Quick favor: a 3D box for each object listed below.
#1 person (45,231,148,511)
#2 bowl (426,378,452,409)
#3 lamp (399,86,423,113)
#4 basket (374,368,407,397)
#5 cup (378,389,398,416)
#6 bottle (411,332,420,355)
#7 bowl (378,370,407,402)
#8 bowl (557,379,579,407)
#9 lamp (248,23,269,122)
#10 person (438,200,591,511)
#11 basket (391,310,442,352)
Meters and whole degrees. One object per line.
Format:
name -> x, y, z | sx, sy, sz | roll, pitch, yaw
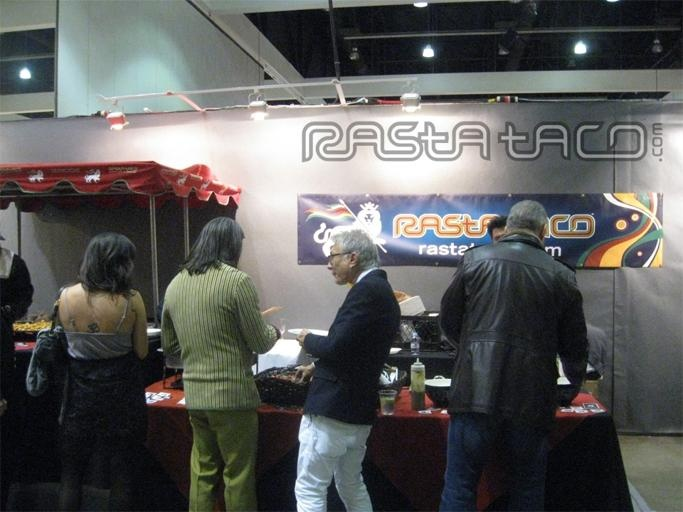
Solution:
person -> -1.480, 0.732, 3.998 | 0.512, 1.745, 0.266 | 1, 1, -26
bowl -> 0.627, 0.881, 4.252 | 0.195, 0.142, 0.200 | 1, 2, 0
lamp -> 0.605, -1.390, 5.821 | 0.164, 0.243, 0.237 | 1, 17, 3
basket -> 0.330, 0.810, 4.307 | 0.204, 0.137, 0.210 | 1, 3, 10
cup -> 0.294, 0.945, 4.155 | 0.122, 0.131, 0.125 | 2, -6, 0
bottle -> 0.548, 0.643, 4.810 | 0.061, 0.118, 0.133 | 1, 1, 6
bowl -> 0.329, 0.863, 4.321 | 0.198, 0.133, 0.204 | 0, 3, 0
bowl -> 1.427, 0.866, 4.124 | 0.156, 0.163, 0.199 | -2, -9, 11
lamp -> -0.741, -1.638, 5.793 | 0.177, 0.711, 0.172 | 5, 11, 15
person -> 1.000, 0.576, 3.802 | 0.844, 1.501, 0.364 | 1, 0, 9
basket -> 0.595, 0.573, 5.042 | 0.474, 0.268, 0.354 | -2, -7, 11
